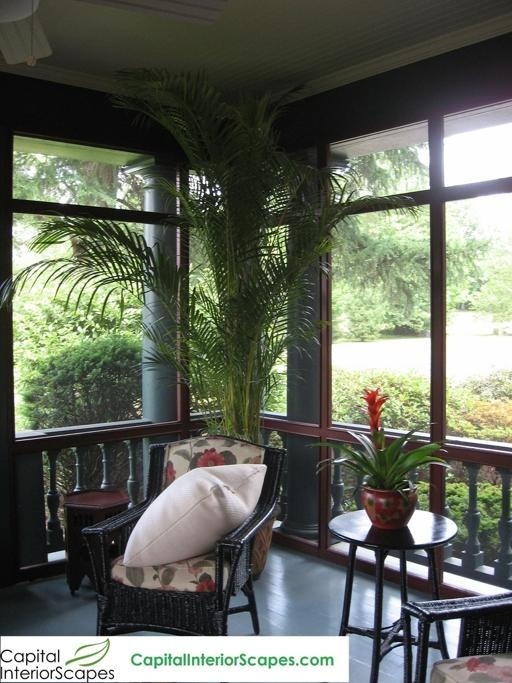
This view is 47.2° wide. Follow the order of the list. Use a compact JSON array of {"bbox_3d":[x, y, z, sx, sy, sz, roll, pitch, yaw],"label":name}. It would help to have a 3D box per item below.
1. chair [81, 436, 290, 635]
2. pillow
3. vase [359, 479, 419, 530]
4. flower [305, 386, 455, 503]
[{"bbox_3d":[-0.242,0.707,2.115,0.633,0.644,0.682,-2,-6,36],"label":"chair"},{"bbox_3d":[-0.196,0.575,2.034,0.342,0.270,0.464,4,7,3],"label":"pillow"},{"bbox_3d":[0.475,0.574,2.072,0.204,0.134,0.189,-1,-2,-7],"label":"vase"},{"bbox_3d":[0.454,0.377,2.085,0.461,0.366,0.455,-4,-1,26],"label":"flower"}]
